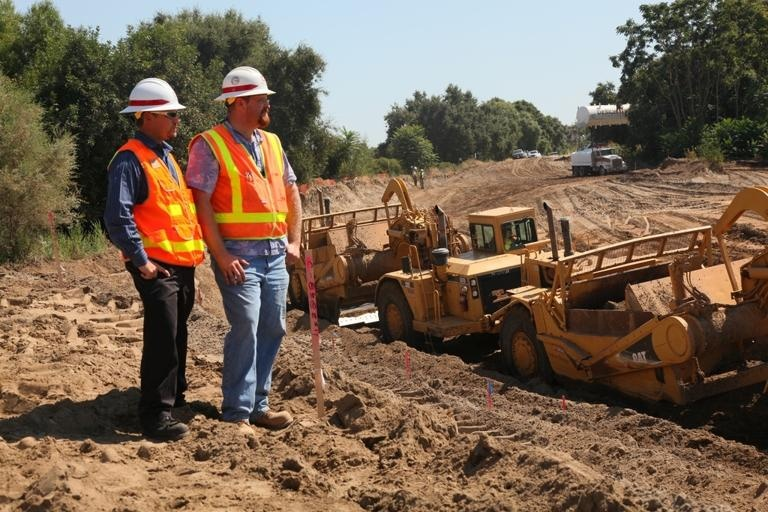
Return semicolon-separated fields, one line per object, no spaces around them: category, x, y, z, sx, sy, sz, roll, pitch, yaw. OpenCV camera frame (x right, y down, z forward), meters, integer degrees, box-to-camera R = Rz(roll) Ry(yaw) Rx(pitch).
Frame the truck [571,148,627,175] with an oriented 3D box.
truck;12.641;-5.598;40.174;1.597;1.832;3.535;-6;6;-23

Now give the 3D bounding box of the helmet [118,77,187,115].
helmet;-2.521;-1.707;7.214;0.565;0.315;0.424;1;14;0

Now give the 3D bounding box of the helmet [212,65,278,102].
helmet;-1.567;-1.892;7.330;0.523;0.275;0.429;-1;14;5
